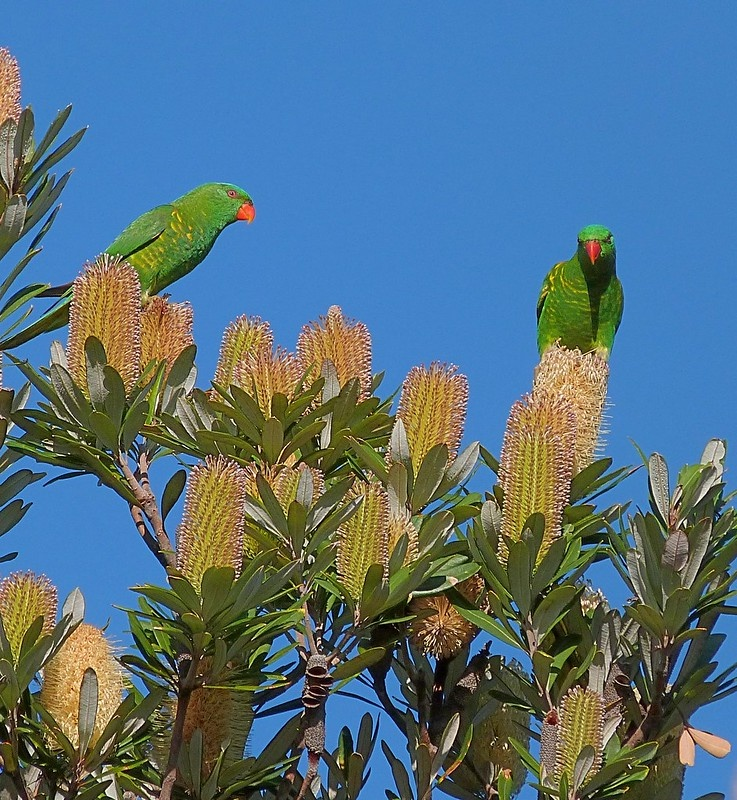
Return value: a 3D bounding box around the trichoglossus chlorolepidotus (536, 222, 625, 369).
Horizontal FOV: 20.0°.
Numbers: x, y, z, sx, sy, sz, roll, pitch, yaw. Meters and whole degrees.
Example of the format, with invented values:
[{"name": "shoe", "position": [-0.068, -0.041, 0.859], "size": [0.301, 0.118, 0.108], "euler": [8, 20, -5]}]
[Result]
[{"name": "trichoglossus chlorolepidotus", "position": [0.692, -0.286, 6.740], "size": [0.141, 0.378, 0.423], "euler": [10, -62, 0]}]
